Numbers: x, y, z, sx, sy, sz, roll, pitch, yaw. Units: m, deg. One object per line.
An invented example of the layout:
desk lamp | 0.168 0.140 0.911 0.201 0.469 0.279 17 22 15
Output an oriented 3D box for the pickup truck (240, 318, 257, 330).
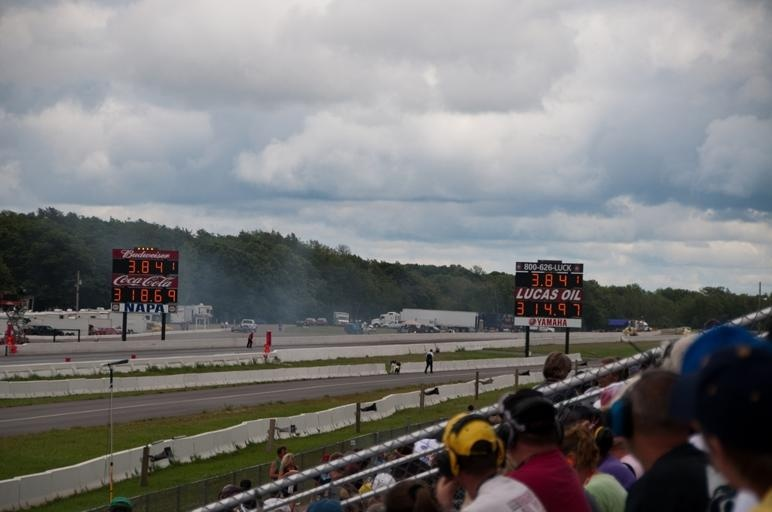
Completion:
pickup truck | -17.425 8.804 113.692 1.733 1.510 2.798 1 -5 -34

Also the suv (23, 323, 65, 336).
suv | -35.209 7.664 92.839 2.340 1.016 4.635 -1 -3 18

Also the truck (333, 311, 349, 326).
truck | -6.716 9.410 133.629 2.971 1.638 2.802 4 1 -6

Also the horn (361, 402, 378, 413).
horn | -0.926 8.623 51.053 0.762 0.409 0.583 1 2 -42

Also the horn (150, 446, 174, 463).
horn | -11.048 9.829 44.225 0.135 0.847 1.452 -2 -3 41

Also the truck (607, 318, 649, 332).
truck | 36.810 10.599 137.899 8.378 2.616 2.392 -1 3 -2
